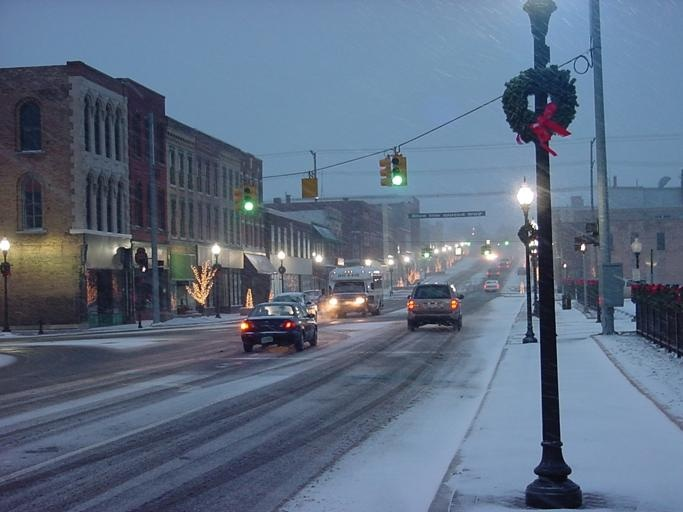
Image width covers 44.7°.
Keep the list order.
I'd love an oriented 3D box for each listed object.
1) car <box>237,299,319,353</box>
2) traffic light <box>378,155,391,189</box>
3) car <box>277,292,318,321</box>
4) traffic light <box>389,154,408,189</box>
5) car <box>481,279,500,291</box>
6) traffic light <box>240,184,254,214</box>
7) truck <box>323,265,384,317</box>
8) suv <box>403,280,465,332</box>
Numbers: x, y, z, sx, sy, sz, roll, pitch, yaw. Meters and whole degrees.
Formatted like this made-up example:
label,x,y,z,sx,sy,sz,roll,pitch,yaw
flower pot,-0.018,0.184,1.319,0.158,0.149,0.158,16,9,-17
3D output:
label,x,y,z,sx,sy,sz,roll,pitch,yaw
car,-2.078,2.293,27.118,1.825,1.506,1.636,-1,2,18
traffic light,1.572,-3.016,29.194,0.351,1.051,0.736,-2,2,-2
car,-2.026,2.297,39.091,1.181,0.867,2.638,-1,-8,7
traffic light,1.986,-3.009,28.750,0.503,1.128,0.969,-2,2,-2
car,16.488,3.555,91.149,1.710,1.288,3.996,0,5,13
traffic light,-3.707,-2.311,33.279,0.492,1.030,0.899,-3,2,-7
truck,0.825,2.131,49.184,2.036,2.062,4.047,-1,-6,10
suv,3.760,2.076,33.645,2.075,1.985,1.675,-2,2,4
